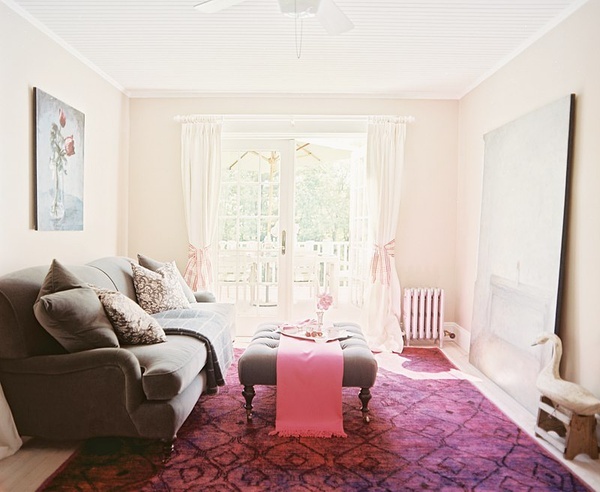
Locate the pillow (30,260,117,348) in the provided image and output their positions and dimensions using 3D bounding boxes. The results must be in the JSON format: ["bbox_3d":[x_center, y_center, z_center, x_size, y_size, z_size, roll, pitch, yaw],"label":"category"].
[{"bbox_3d":[-1.392,0.216,2.811,0.432,0.327,0.798,14,8,-22],"label":"pillow"}]

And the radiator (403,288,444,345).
[{"bbox_3d":[1.381,0.770,4.869,0.608,0.747,0.344,1,0,-1],"label":"radiator"}]

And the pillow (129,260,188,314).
[{"bbox_3d":[-1.252,0.368,3.786,0.182,0.372,0.405,-13,-7,27],"label":"pillow"}]
